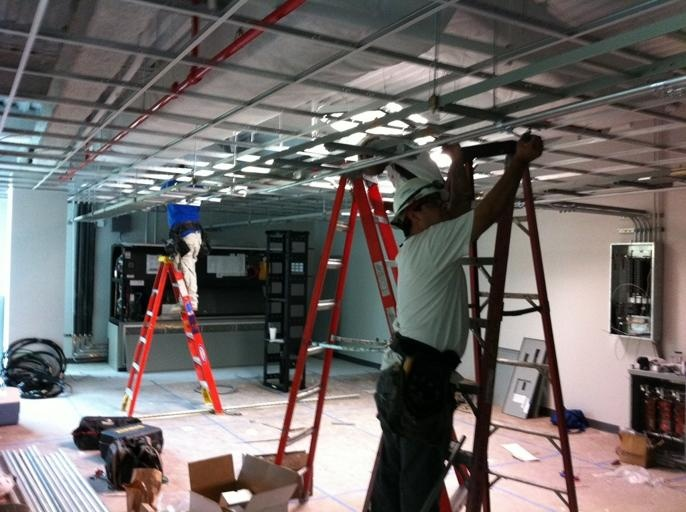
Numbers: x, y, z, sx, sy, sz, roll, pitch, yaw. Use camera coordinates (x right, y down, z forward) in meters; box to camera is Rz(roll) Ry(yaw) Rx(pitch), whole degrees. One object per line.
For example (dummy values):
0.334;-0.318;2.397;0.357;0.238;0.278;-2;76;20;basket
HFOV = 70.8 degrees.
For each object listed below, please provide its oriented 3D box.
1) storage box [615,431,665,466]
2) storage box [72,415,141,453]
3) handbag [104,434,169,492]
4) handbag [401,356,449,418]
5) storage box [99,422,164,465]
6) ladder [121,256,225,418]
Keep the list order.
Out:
3.774;2.441;6.029;0.449;0.344;0.236;4;-5;38;storage box
-3.067;2.166;6.040;0.640;0.214;0.790;4;-5;-33;storage box
-2.244;2.116;5.003;0.583;0.406;0.528;0;-7;7;handbag
0.423;0.669;2.481;0.278;0.288;0.118;1;5;-13;handbag
-2.382;2.107;5.441;0.493;0.248;0.585;-13;-10;2;storage box
-2.509;1.204;7.298;1.377;2.204;1.234;4;-2;-21;ladder
